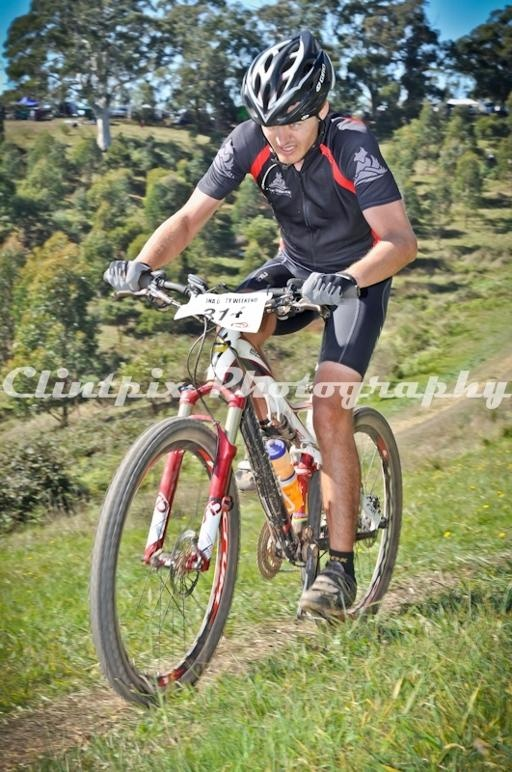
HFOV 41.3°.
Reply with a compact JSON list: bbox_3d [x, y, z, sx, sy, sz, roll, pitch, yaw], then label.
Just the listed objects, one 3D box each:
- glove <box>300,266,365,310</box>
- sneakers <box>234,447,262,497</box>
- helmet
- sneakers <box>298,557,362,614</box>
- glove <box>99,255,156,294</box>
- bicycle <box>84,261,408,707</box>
[{"bbox_3d":[0.264,-0.320,2.272,0.272,0.154,0.348,0,1,6],"label":"glove"},{"bbox_3d":[-0.017,0.365,2.772,0.102,0.153,0.152,3,10,11],"label":"sneakers"},{"bbox_3d":[0.114,-1.150,2.525,0.274,0.400,0.366,10,12,25],"label":"helmet"},{"bbox_3d":[0.295,0.782,2.679,0.120,0.149,0.337,3,0,24],"label":"sneakers"},{"bbox_3d":[-0.470,-0.409,2.503,0.124,0.076,0.165,-7,15,-44],"label":"glove"},{"bbox_3d":[-0.074,0.430,2.872,0.796,1.181,2.018,-2,-1,31],"label":"bicycle"}]
